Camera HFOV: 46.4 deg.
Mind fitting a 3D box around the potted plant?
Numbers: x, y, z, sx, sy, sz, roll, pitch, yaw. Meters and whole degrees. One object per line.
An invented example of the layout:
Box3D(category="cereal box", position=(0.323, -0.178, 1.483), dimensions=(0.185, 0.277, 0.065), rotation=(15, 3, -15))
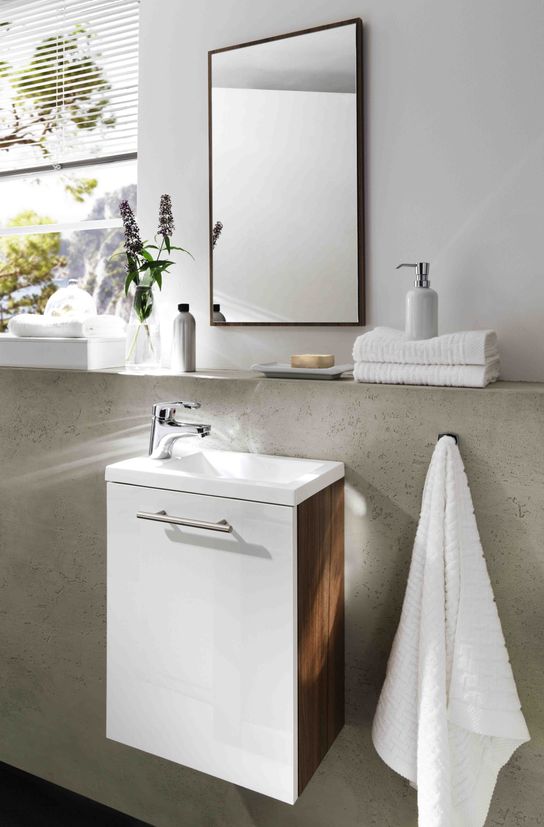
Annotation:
Box3D(category="potted plant", position=(-0.338, -0.354, 1.653), dimensions=(0.250, 0.428, 0.199), rotation=(9, 13, 43))

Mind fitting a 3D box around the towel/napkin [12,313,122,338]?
Box3D(category="towel/napkin", position=(-0.547, -0.230, 1.667), dimensions=(0.292, 0.056, 0.169), rotation=(0, 11, -1))

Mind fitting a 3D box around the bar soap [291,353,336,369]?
Box3D(category="bar soap", position=(0.086, -0.108, 1.309), dimensions=(0.072, 0.028, 0.089), rotation=(-5, 12, -23))
